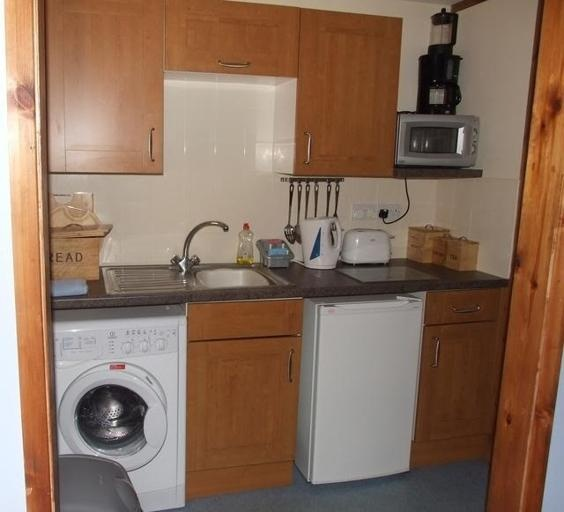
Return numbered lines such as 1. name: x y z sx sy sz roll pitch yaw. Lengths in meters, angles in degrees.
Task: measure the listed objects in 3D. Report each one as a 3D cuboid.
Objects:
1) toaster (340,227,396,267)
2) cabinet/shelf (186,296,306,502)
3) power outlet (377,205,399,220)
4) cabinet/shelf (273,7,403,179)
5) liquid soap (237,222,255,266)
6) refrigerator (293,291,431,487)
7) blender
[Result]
1. toaster: 0.471 -0.047 3.046 0.271 0.197 0.086 0 13 3
2. cabinet/shelf: -0.220 0.609 2.726 0.501 0.929 0.571 0 7 -18
3. power outlet: 0.638 -0.260 3.255 0.157 0.096 0.032 -7 14 -26
4. cabinet/shelf: 0.294 -0.771 2.720 0.548 0.782 0.368 -1 17 -17
5. liquid soap: -0.194 -0.064 2.993 0.114 0.218 0.095 -6 13 -20
6. refrigerator: 0.365 0.616 2.805 0.470 0.908 0.683 3 3 -14
7. blender: 0.866 -1.049 3.004 0.216 0.561 0.211 16 26 39
